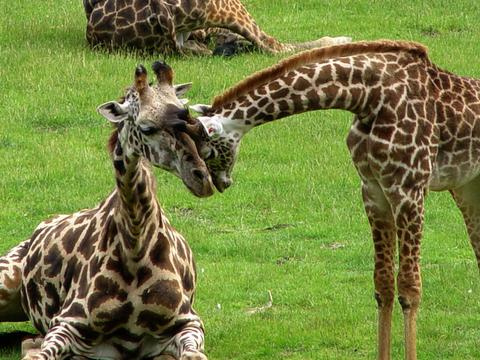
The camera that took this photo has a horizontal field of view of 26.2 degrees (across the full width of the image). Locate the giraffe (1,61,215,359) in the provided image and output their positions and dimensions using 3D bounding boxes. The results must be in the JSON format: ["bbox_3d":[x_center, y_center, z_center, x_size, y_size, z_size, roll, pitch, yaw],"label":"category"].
[{"bbox_3d":[-1.367,0.320,11.233,2.631,3.299,1.174,7,6,28],"label":"giraffe"}]
